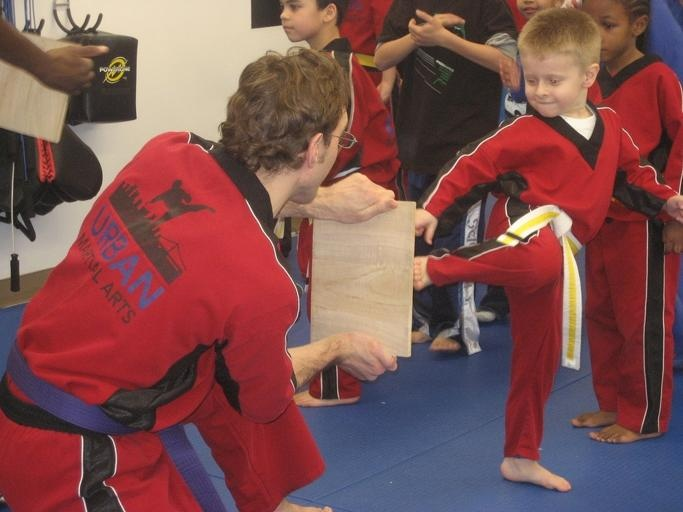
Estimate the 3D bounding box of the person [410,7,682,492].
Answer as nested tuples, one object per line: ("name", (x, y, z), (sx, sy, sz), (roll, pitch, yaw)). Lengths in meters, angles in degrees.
("person", (0.646, -0.045, 2.580), (0.783, 1.489, 0.343), (-10, 14, 3))
